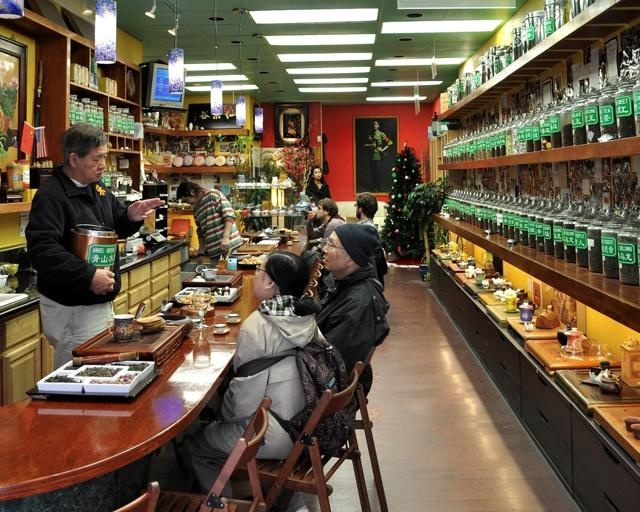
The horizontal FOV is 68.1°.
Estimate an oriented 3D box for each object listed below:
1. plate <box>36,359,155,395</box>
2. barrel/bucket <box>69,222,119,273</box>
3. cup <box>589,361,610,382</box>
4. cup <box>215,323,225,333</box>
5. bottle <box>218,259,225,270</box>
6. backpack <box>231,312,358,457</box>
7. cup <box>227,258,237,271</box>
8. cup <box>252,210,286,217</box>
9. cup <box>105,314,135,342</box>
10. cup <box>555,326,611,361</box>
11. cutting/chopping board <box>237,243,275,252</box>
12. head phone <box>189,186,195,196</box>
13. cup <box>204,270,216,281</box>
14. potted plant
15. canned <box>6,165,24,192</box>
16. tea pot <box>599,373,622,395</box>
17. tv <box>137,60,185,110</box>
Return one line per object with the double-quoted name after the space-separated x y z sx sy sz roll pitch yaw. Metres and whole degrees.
-0.915 0.506 1.951 0.399 0.073 0.279 -2 8 2 "plate"
-1.236 -0.061 2.729 0.254 0.273 0.260 1 7 0 "barrel/bucket"
1.717 0.709 2.950 0.149 0.150 0.095 -2 -1 28 "cup"
-0.571 0.406 2.677 0.044 0.026 0.044 1 6 0 "cup"
-1.002 0.088 4.783 0.089 0.089 0.163 -1 3 -4 "bottle"
0.002 0.615 2.346 0.608 0.603 0.423 -2 6 15 "backpack"
-0.861 0.076 4.635 0.095 0.126 0.173 -1 2 -1 "cup"
-0.840 -0.703 7.741 0.546 0.105 0.231 -3 8 -10 "cup"
-0.958 0.343 2.268 0.125 0.123 0.105 0 4 -19 "cup"
1.883 0.635 3.422 0.175 0.105 0.272 0 3 -31 "cup"
-0.810 -0.105 6.077 0.462 0.043 0.695 -2 8 1 "cutting/chopping board"
-1.671 -0.835 6.178 0.060 0.078 0.072 5 4 -3 "head phone"
-0.912 0.158 3.923 0.082 0.058 0.082 2 3 0 "cup"
1.962 -1.276 11.392 0.988 2.708 0.680 -1 8 6 "potted plant"
-2.609 -0.681 4.040 0.118 0.214 0.094 -6 9 -29 "canned"
1.688 0.758 2.765 0.108 0.069 0.084 -1 -5 6 "tea pot"
-2.468 -2.636 7.350 0.587 0.670 0.339 -6 9 -24 "tv"
